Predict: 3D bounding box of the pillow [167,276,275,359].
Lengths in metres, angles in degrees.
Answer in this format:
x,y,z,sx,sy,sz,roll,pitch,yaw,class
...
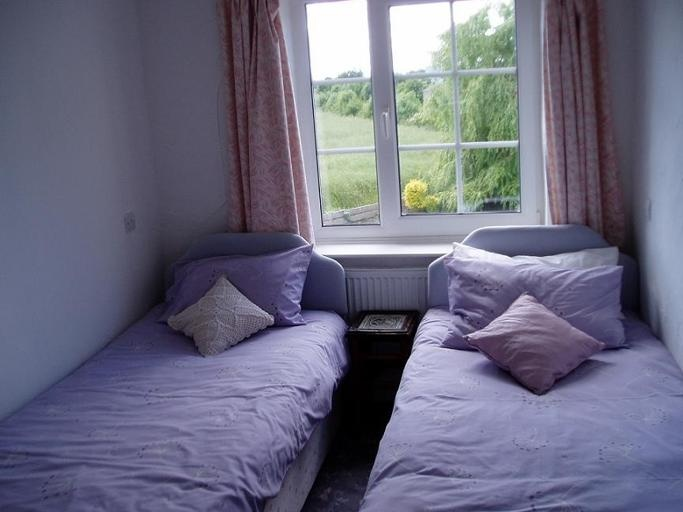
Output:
x,y,z,sx,sy,sz,roll,pitch,yaw,class
-0.580,0.297,2.426,0.362,0.360,0.123,-41,-13,-24,pillow

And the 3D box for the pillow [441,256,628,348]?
x,y,z,sx,sy,sz,roll,pitch,yaw,class
0.887,0.227,2.332,0.788,0.481,0.280,-1,-26,11,pillow

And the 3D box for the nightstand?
x,y,z,sx,sy,sz,roll,pitch,yaw,class
0.197,0.541,2.808,0.456,0.664,0.471,0,7,4,nightstand

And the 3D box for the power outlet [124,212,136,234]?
x,y,z,sx,sy,sz,roll,pitch,yaw,class
-1.082,-0.181,2.583,0.021,0.078,0.077,1,-13,17,power outlet
